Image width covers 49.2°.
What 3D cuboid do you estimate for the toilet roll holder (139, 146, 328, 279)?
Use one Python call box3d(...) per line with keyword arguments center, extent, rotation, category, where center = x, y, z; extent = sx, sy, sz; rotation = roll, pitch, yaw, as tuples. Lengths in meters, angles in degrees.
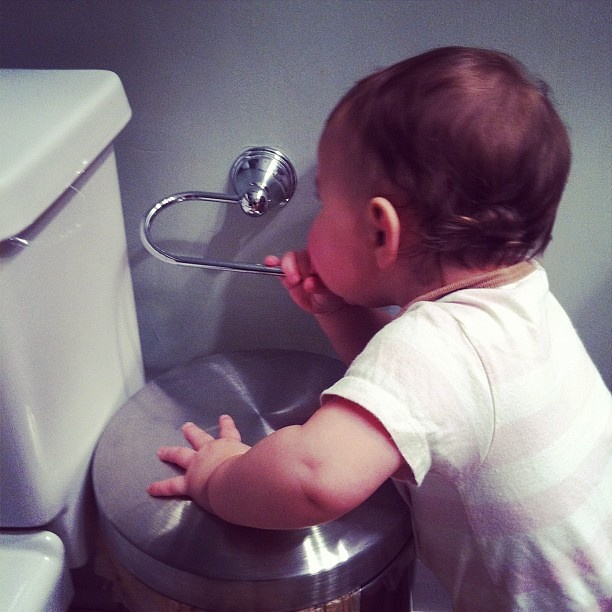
box3d(center=(-0.104, -0.077, 0.903), extent=(0.244, 0.258, 0.060), rotation=(-2, 58, 14), category="toilet roll holder")
